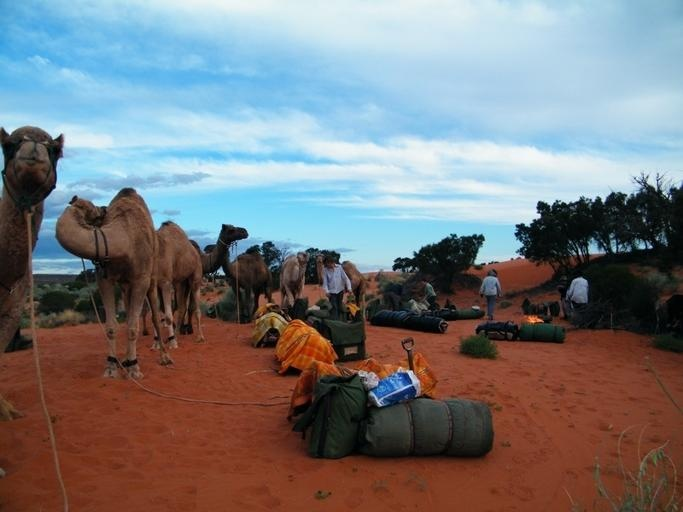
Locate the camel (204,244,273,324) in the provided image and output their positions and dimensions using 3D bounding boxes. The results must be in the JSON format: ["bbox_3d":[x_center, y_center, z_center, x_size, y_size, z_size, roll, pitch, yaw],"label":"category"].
[{"bbox_3d":[-4.158,1.262,17.955,2.473,3.920,2.289,3,3,-37],"label":"camel"}]

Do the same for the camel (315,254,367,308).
[{"bbox_3d":[0.074,0.990,20.747,2.639,1.921,0.740,15,24,-11],"label":"camel"}]

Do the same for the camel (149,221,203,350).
[{"bbox_3d":[-4.233,0.822,11.493,1.303,3.294,1.623,1,0,-6],"label":"camel"}]

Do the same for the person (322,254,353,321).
[{"bbox_3d":[-0.191,0.877,14.167,0.723,2.132,0.766,1,5,-13],"label":"person"}]

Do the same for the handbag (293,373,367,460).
[{"bbox_3d":[-0.113,2.304,6.605,0.962,1.037,0.553,2,7,2],"label":"handbag"}]
